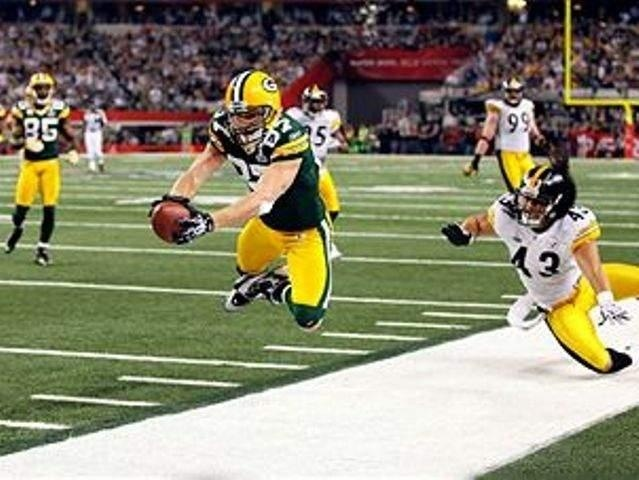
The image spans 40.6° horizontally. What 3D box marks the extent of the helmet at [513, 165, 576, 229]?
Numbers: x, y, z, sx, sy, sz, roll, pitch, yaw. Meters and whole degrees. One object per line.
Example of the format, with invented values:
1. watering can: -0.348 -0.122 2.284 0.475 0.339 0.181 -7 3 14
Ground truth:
1. helmet: 1.141 -0.215 4.416 0.363 0.315 0.259 -6 6 -32

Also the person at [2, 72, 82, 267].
1. person: -2.552 -0.659 7.970 0.610 1.722 0.701 0 7 -19

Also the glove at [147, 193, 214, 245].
1. glove: -0.655 -0.089 4.023 0.295 0.211 0.134 7 -34 -19

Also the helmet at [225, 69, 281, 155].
1. helmet: -0.361 -0.688 4.662 0.306 0.447 0.258 2 7 -7

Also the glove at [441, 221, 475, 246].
1. glove: 0.753 -0.053 4.845 0.082 0.116 0.153 -36 40 -9

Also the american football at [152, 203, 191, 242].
1. american football: -0.709 -0.091 4.045 0.142 0.167 0.185 26 -3 -22
